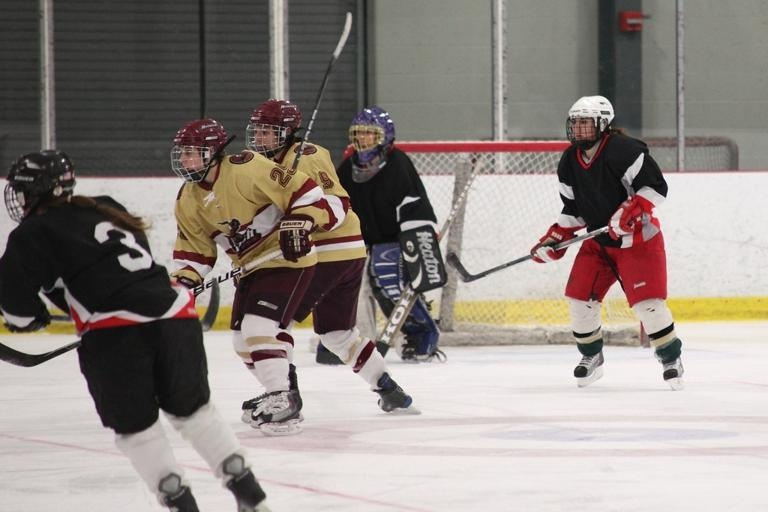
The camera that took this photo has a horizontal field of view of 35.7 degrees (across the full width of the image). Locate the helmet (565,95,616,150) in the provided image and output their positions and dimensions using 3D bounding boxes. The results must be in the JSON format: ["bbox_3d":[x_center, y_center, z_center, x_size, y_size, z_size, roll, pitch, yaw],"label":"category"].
[{"bbox_3d":[1.265,-0.835,7.411,0.365,0.300,0.301,-2,-2,-25],"label":"helmet"}]

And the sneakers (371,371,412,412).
[{"bbox_3d":[0.045,0.777,6.790,0.220,0.259,0.087,-1,11,0],"label":"sneakers"}]

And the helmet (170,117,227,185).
[{"bbox_3d":[-0.995,-0.553,6.347,0.380,0.308,0.274,-12,10,-29],"label":"helmet"}]

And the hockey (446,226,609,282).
[{"bbox_3d":[1.126,-0.103,8.150,1.376,0.197,0.166,-17,-5,12],"label":"hockey"}]

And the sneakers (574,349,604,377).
[{"bbox_3d":[1.270,0.686,7.467,0.091,0.104,0.296,-7,5,38],"label":"sneakers"}]

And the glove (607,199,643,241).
[{"bbox_3d":[1.435,-0.223,7.115,0.162,0.260,0.128,6,13,30],"label":"glove"}]

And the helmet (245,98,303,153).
[{"bbox_3d":[-0.650,-0.770,7.146,0.365,0.301,0.279,-2,4,-35],"label":"helmet"}]

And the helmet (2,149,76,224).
[{"bbox_3d":[-1.577,-0.332,5.610,0.396,0.335,0.285,2,2,-18],"label":"helmet"}]

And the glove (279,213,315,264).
[{"bbox_3d":[-0.473,-0.091,6.398,0.191,0.260,0.138,-4,11,-17],"label":"glove"}]

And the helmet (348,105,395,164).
[{"bbox_3d":[-0.006,-0.787,7.698,0.306,0.348,0.384,2,4,38],"label":"helmet"}]

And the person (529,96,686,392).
[{"bbox_3d":[1.383,-0.080,7.340,0.484,1.773,0.912,-9,14,-36],"label":"person"}]

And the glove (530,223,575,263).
[{"bbox_3d":[1.083,-0.062,7.645,0.116,0.314,0.190,39,9,-43],"label":"glove"}]
